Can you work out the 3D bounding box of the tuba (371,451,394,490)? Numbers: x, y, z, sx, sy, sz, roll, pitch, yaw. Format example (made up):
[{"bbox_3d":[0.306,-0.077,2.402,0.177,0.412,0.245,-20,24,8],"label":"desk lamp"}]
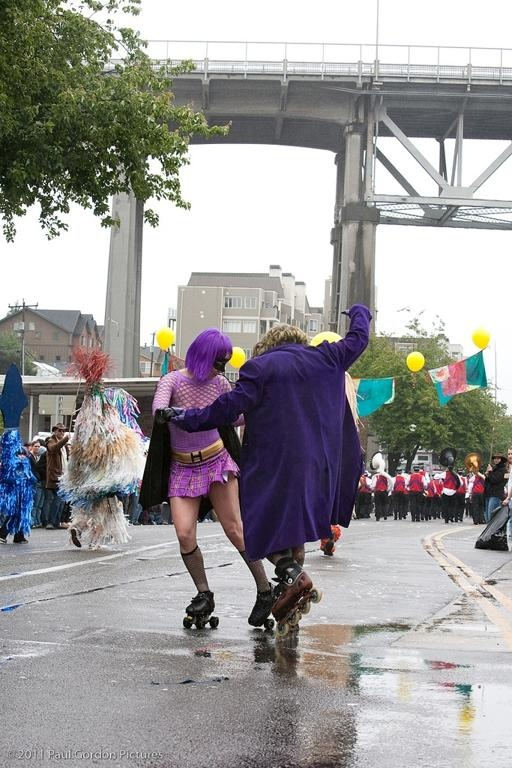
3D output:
[{"bbox_3d":[5.756,4.074,35.664,0.860,0.888,1.964,10,14,-5],"label":"tuba"}]

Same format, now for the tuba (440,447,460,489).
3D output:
[{"bbox_3d":[8.581,3.732,34.779,1.152,1.609,0.631,-4,-4,6],"label":"tuba"}]

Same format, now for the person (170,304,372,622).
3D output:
[{"bbox_3d":[0.174,0.375,4.682,1.028,1.863,0.827,0,-2,6],"label":"person"}]

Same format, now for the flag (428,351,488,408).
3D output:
[{"bbox_3d":[6.870,-0.163,26.638,2.033,1.476,0.187,-19,25,-10],"label":"flag"}]

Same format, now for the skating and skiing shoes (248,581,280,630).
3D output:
[{"bbox_3d":[0.034,1.320,4.721,0.104,0.306,0.132,6,-8,33],"label":"skating and skiing shoes"}]

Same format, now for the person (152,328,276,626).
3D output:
[{"bbox_3d":[-0.334,0.531,4.947,0.745,1.759,0.772,1,-2,-18],"label":"person"}]
